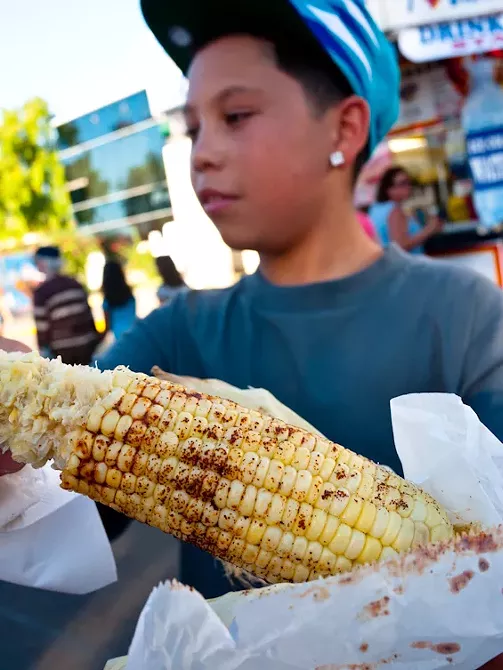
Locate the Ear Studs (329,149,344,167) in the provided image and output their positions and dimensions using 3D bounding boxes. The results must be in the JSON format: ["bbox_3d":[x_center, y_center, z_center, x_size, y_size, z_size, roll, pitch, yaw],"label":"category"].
[{"bbox_3d":[0.123,-0.256,0.837,0.023,0.021,0.006,-3,7,-29],"label":"Ear Studs"}]
